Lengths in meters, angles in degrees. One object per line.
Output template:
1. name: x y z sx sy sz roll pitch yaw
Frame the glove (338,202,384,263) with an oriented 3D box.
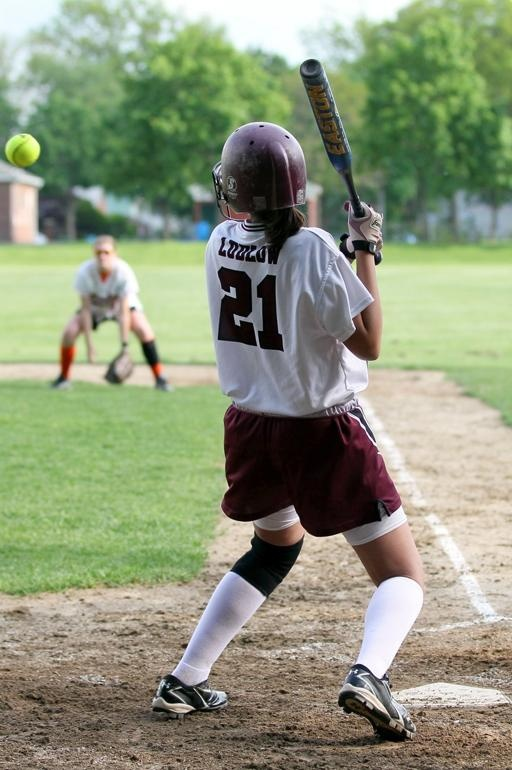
1. glove: 0.283 -0.391 2.544 0.071 0.132 0.146 0 20 18

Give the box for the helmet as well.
1. helmet: 0.030 -0.557 2.610 0.232 0.215 0.294 -10 15 -16

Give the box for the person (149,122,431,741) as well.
1. person: 0.104 0.149 2.608 0.736 1.645 0.418 8 13 32

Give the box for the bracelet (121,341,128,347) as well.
1. bracelet: -0.517 -0.159 3.967 0.021 0.018 0.009 -13 12 -35

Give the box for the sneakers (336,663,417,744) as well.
1. sneakers: 0.319 0.800 2.504 0.096 0.256 0.120 -20 35 38

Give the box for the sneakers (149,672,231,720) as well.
1. sneakers: -0.181 0.871 2.797 0.230 0.094 0.086 3 -3 -32

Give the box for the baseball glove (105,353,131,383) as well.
1. baseball glove: -0.540 -0.056 3.999 0.083 0.132 0.050 25 -22 -16
